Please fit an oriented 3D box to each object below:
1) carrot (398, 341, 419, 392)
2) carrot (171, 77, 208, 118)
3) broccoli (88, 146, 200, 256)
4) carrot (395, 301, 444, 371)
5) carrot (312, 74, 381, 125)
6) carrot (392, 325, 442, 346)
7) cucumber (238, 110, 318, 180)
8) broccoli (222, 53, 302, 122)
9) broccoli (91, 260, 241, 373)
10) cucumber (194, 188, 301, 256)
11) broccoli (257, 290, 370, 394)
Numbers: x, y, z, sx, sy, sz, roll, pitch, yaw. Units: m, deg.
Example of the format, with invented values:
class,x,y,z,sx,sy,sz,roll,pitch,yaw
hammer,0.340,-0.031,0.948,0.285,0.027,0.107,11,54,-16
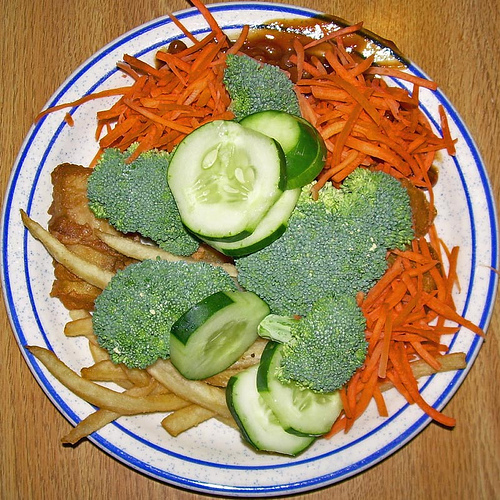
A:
class,x,y,z,sx,sy,sz,roll,pitch,yaw
carrot,0.519,0.385,1.986,0.044,0.026,0.176,-17,79,-11
carrot,-0.203,-0.514,2.015,0.036,0.037,0.174,44,84,0
broccoli,-0.327,-0.176,2.011,0.430,0.180,0.280,30,85,1
carrot,0.567,0.288,1.998,0.050,0.046,0.257,-33,87,-7
carrot,0.331,-0.484,2.002,0.049,0.353,0.057,16,77,-32
carrot,0.565,0.271,1.996,0.182,0.059,0.068,4,34,15
cucumber,0.108,-0.337,1.809,0.210,0.050,0.210,-16,85,8
broccoli,0.019,-0.513,1.960,0.254,0.112,0.219,-13,73,-18
broccoli,-0.313,0.170,1.914,0.313,0.113,0.461,43,85,3
cucumber,0.024,-0.105,1.825,0.245,0.224,0.073,-45,126,-35
broccoli,0.215,0.300,1.898,0.341,0.195,0.305,-17,85,-3
